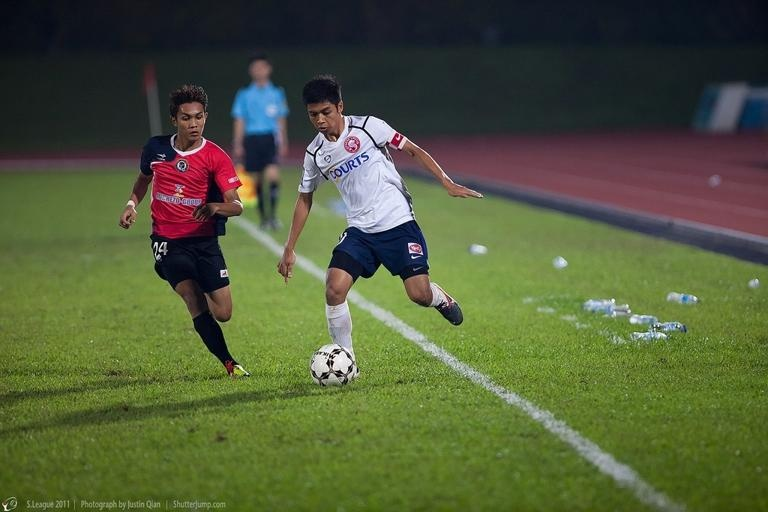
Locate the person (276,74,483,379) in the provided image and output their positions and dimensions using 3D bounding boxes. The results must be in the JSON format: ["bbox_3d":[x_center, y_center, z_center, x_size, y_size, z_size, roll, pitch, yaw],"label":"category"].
[{"bbox_3d":[-0.140,-0.294,6.555,1.555,2.473,0.709,-2,17,-9],"label":"person"}]

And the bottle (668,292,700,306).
[{"bbox_3d":[3.146,0.445,7.887,0.218,0.076,0.132,9,6,44],"label":"bottle"}]

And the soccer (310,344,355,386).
[{"bbox_3d":[-0.431,0.904,6.306,0.351,0.325,0.322,-1,-4,-3],"label":"soccer"}]

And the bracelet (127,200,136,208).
[{"bbox_3d":[-2.207,-0.463,6.551,0.073,0.053,0.063,12,-10,-43],"label":"bracelet"}]

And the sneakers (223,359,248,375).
[{"bbox_3d":[-1.299,0.970,6.589,0.273,0.115,0.095,3,10,36],"label":"sneakers"}]

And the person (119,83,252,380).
[{"bbox_3d":[-1.667,-0.235,6.548,1.084,2.426,0.544,5,17,16],"label":"person"}]
